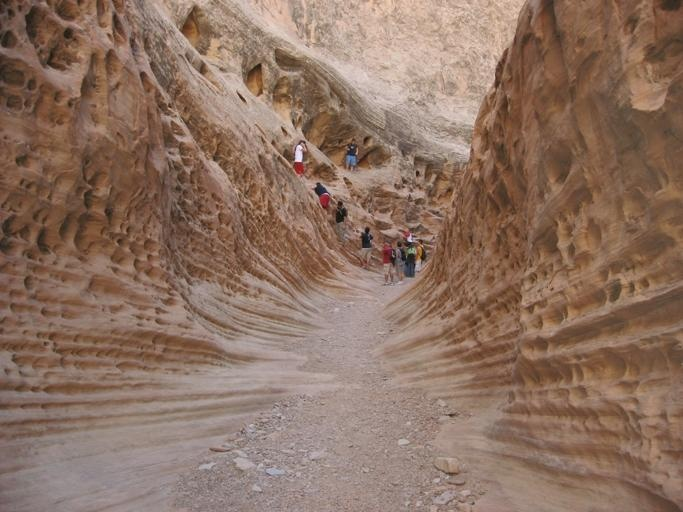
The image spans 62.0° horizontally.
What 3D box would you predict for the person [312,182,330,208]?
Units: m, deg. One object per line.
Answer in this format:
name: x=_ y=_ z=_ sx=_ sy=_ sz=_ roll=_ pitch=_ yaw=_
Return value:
person: x=-0.466 y=-1.489 z=14.718 sx=0.456 sy=0.438 sz=0.785 roll=15 pitch=35 yaw=-21
